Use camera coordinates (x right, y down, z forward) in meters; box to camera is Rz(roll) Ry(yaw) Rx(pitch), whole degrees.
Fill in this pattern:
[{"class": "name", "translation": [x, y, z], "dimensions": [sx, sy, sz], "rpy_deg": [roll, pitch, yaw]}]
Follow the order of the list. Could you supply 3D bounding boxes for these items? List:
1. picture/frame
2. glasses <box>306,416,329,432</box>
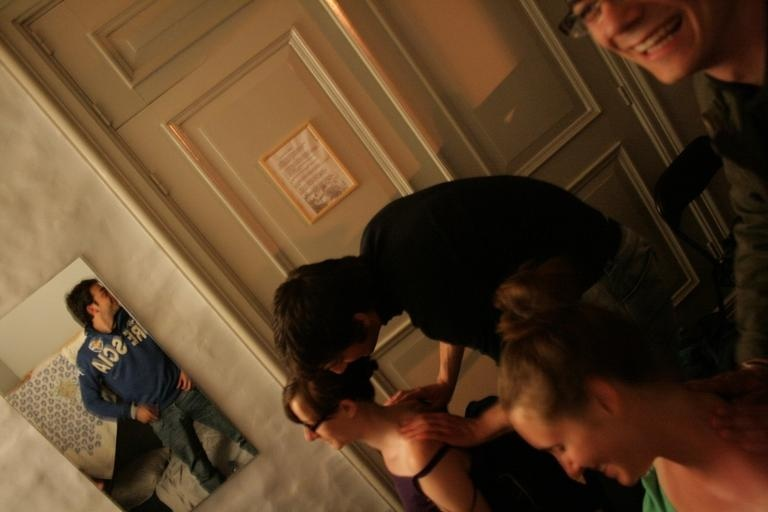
[{"class": "picture/frame", "translation": [-0.429, -0.476, 3.351], "dimensions": [0.361, 0.422, 0.032], "rpy_deg": [-40, 8, -1]}, {"class": "glasses", "translation": [-0.292, 0.730, 2.704], "dimensions": [0.072, 0.077, 0.023], "rpy_deg": [2, 10, 43]}]
